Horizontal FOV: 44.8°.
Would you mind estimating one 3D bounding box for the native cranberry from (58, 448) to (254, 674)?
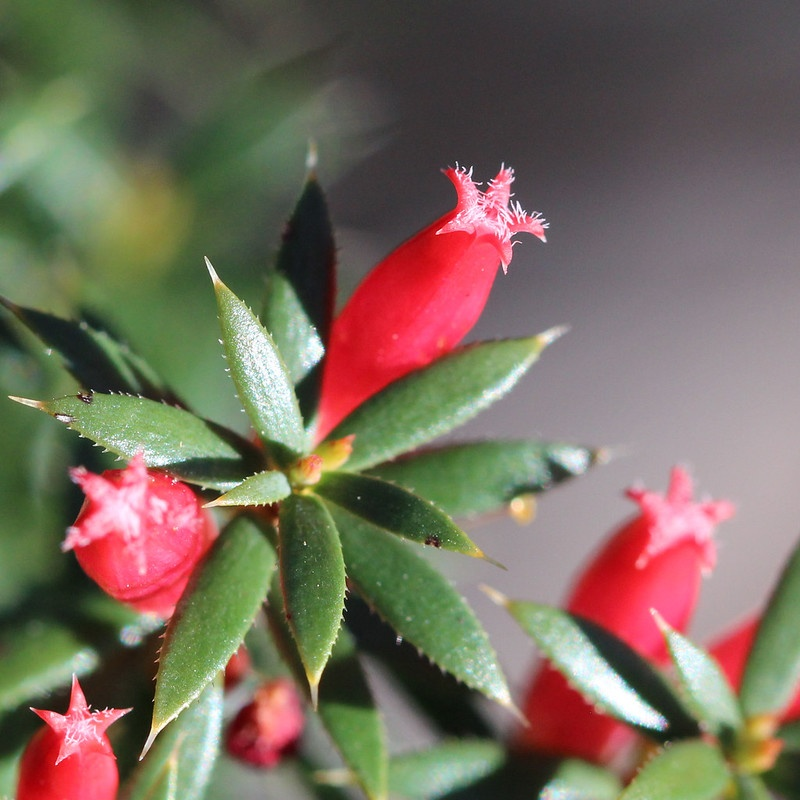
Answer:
[{"bbox_3d":[-0.127,0.088,0.518,0.066,0.047,0.131,61,5,18],"label":"native cranberry"}]

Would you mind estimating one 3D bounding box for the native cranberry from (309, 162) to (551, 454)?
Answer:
[{"bbox_3d":[0.010,-0.056,0.577,0.107,0.136,0.037,11,-7,32],"label":"native cranberry"}]
